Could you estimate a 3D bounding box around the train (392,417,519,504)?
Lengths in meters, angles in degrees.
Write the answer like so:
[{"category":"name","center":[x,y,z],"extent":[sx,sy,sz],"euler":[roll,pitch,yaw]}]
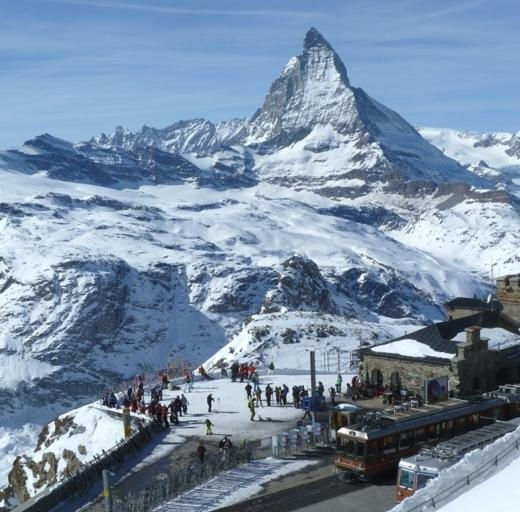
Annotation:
[{"category":"train","center":[19.613,16.121,89.717],"extent":[18.760,4.380,4.052],"euler":[-10,8,-39]}]
